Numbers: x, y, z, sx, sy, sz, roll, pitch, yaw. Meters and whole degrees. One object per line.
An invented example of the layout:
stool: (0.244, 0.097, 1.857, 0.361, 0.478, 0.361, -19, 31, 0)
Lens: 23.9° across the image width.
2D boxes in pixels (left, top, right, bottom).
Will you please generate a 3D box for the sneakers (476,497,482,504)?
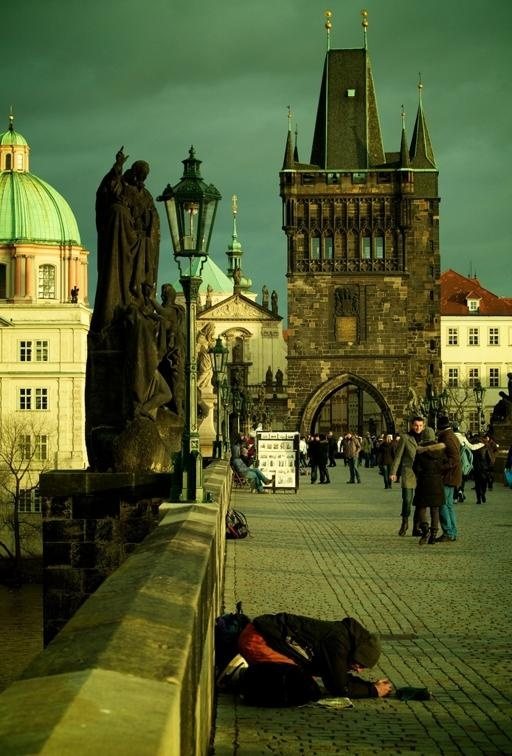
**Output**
sneakers: (4.219, 2.285, 22.831, 0.076, 0.148, 0.077, 1, -4, -25)

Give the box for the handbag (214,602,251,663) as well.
handbag: (-0.130, 1.286, 6.185, 0.089, 0.271, 0.191, 13, -7, -33)

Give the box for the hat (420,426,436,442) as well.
hat: (2.084, 0.675, 14.591, 0.130, 0.181, 0.183, -1, -2, -2)

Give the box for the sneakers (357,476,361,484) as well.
sneakers: (2.773, 2.694, 32.229, 0.135, 0.223, 0.220, 2, 6, 7)

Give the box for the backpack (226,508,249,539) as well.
backpack: (-0.278, 1.779, 14.703, 0.082, 0.373, 0.258, -28, -37, 31)
